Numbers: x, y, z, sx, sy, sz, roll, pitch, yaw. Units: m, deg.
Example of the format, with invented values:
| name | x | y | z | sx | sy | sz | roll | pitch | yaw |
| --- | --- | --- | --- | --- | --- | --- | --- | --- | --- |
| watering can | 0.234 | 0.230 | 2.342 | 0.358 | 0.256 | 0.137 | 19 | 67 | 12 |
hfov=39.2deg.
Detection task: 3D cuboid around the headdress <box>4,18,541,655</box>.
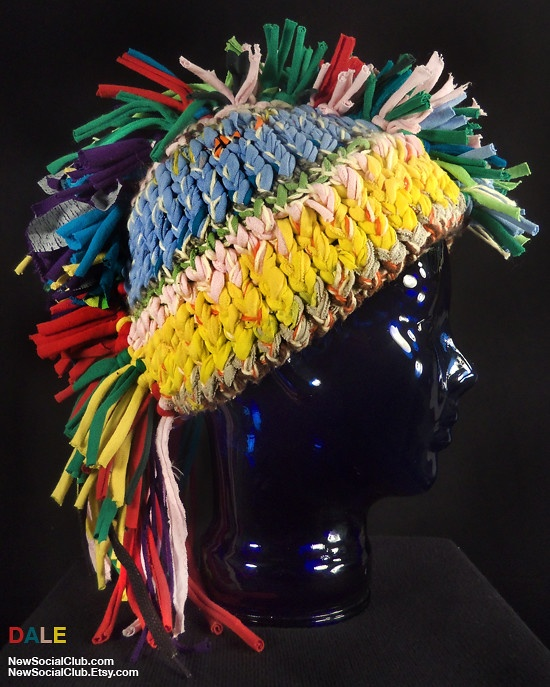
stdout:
| name | x | y | z | sx | sy | sz | roll | pitch | yaw |
| --- | --- | --- | --- | --- | --- | --- | --- | --- | --- |
| headdress | 0.007 | 0.019 | 1.319 | 0.897 | 1.055 | 0.441 | -12 | 25 | -5 |
